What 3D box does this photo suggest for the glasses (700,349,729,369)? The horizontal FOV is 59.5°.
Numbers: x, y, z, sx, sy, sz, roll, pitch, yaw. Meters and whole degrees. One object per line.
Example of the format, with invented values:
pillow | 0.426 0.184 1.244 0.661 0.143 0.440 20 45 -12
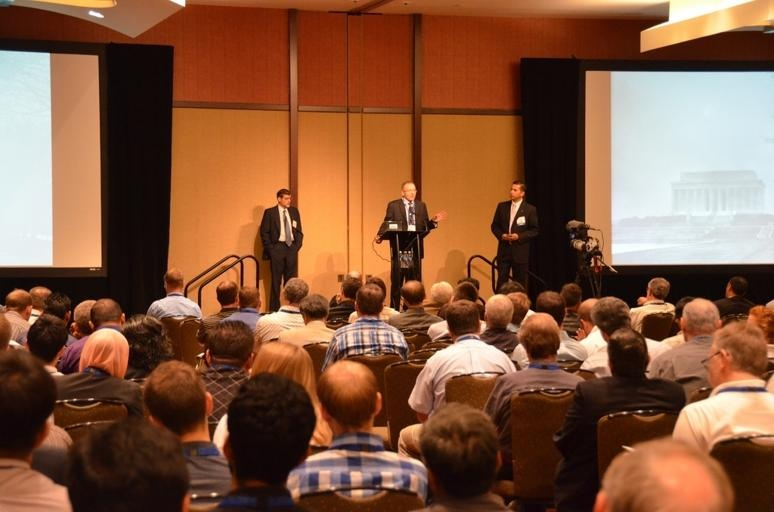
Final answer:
glasses | 1.846 0.574 3.802 0.165 0.061 0.178 1 -24 -13
